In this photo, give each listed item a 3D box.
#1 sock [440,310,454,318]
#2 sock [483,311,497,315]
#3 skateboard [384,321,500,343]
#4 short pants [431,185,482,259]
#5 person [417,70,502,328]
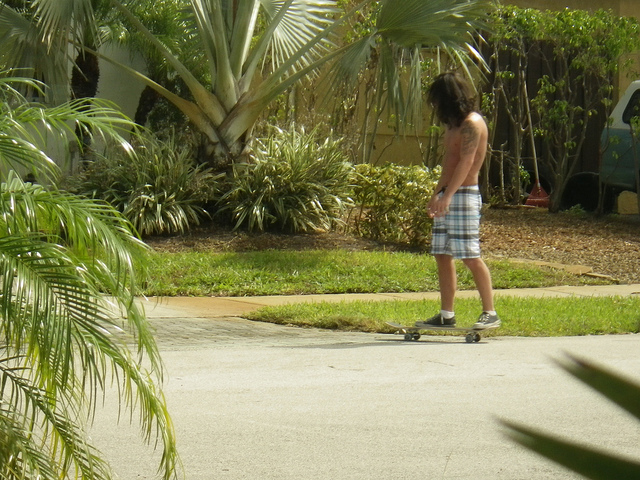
[{"bbox_3d":[0.982,0.571,7.138,0.102,0.065,0.056,4,2,2],"label":"sock"},{"bbox_3d":[1.316,0.555,7.090,0.126,0.015,0.077,3,2,-21],"label":"sock"},{"bbox_3d":[0.950,0.713,7.148,0.611,0.098,0.154,0,-1,14],"label":"skateboard"},{"bbox_3d":[1.054,-0.133,7.148,0.316,0.604,0.476,12,-12,-39],"label":"short pants"},{"bbox_3d":[1.099,-0.307,7.151,0.644,1.958,0.412,4,3,11],"label":"person"}]
